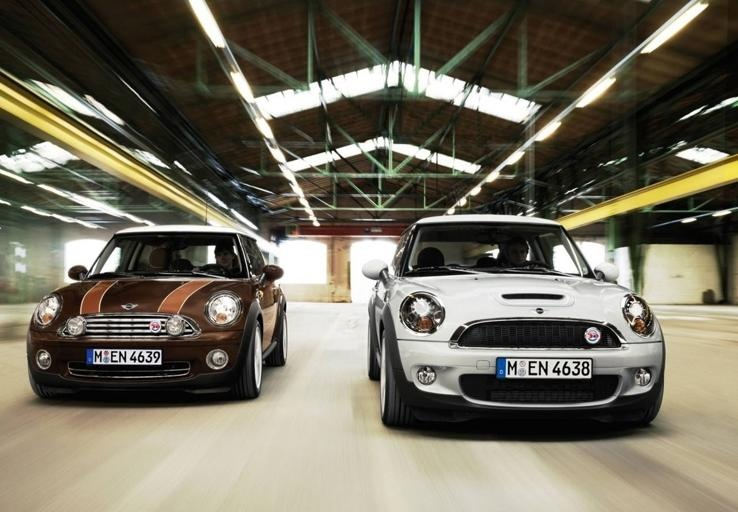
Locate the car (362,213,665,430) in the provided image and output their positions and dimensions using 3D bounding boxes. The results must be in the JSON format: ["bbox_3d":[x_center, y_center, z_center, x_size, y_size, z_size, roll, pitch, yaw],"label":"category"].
[{"bbox_3d":[1.013,0.527,4.171,1.933,1.034,2.790,1,-5,-3],"label":"car"}]

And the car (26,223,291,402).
[{"bbox_3d":[-2.091,0.268,5.113,2.203,1.125,3.030,1,15,-3],"label":"car"}]
